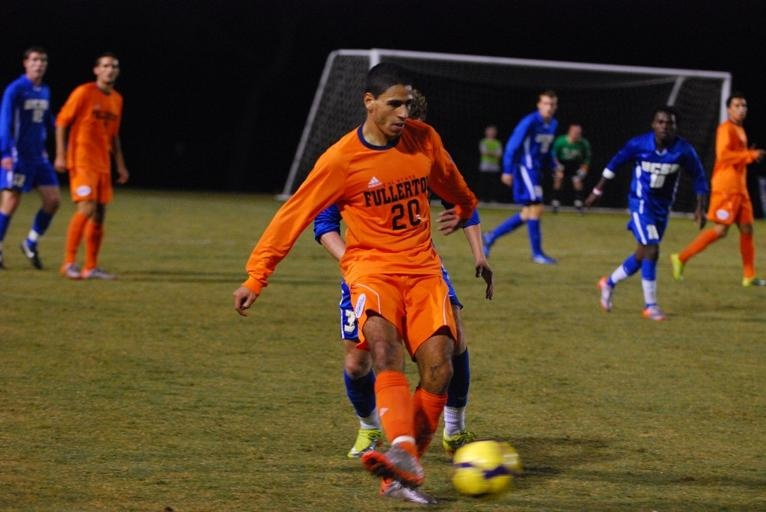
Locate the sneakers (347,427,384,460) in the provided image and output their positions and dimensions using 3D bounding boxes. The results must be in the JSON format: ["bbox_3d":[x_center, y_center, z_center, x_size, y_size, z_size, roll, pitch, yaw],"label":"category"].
[{"bbox_3d":[-0.185,1.554,9.108,0.147,0.168,0.415,-5,-6,39],"label":"sneakers"}]

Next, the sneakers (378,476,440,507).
[{"bbox_3d":[0.269,1.862,8.619,0.600,0.224,0.179,4,2,6],"label":"sneakers"}]

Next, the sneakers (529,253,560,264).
[{"bbox_3d":[2.207,0.045,14.932,0.338,0.127,0.126,3,7,40],"label":"sneakers"}]

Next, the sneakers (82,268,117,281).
[{"bbox_3d":[-3.275,0.222,12.543,0.387,0.143,0.130,1,7,-18],"label":"sneakers"}]

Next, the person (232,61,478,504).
[{"bbox_3d":[-0.015,0.100,8.704,1.654,3.274,1.062,4,4,-10],"label":"person"}]

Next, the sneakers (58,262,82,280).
[{"bbox_3d":[-3.586,0.182,12.478,0.326,0.118,0.121,9,8,44],"label":"sneakers"}]

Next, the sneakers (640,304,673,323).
[{"bbox_3d":[3.013,0.645,12.038,0.186,0.133,0.331,-4,-3,-12],"label":"sneakers"}]

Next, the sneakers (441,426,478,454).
[{"bbox_3d":[0.606,1.542,9.084,0.247,0.184,0.191,-28,-19,38],"label":"sneakers"}]

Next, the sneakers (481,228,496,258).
[{"bbox_3d":[1.411,-0.150,14.645,0.147,0.412,0.190,1,16,4],"label":"sneakers"}]

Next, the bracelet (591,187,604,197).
[{"bbox_3d":[2.401,-0.713,12.333,0.151,0.101,0.152,13,17,36],"label":"bracelet"}]

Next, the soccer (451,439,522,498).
[{"bbox_3d":[0.785,1.672,8.540,0.529,0.344,0.385,-4,-10,-8],"label":"soccer"}]

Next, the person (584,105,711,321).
[{"bbox_3d":[2.912,-0.464,12.062,1.248,2.288,0.869,6,4,14],"label":"person"}]

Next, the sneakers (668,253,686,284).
[{"bbox_3d":[3.660,0.169,13.554,0.142,0.378,0.161,6,-35,-22],"label":"sneakers"}]

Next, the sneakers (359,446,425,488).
[{"bbox_3d":[0.086,1.606,8.422,0.599,0.198,0.262,20,7,-14],"label":"sneakers"}]

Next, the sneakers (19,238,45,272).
[{"bbox_3d":[-4.102,-0.009,12.850,0.225,0.450,0.160,-7,26,33],"label":"sneakers"}]

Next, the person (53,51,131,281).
[{"bbox_3d":[-3.320,-0.989,12.313,0.823,2.532,0.510,4,4,-23],"label":"person"}]
